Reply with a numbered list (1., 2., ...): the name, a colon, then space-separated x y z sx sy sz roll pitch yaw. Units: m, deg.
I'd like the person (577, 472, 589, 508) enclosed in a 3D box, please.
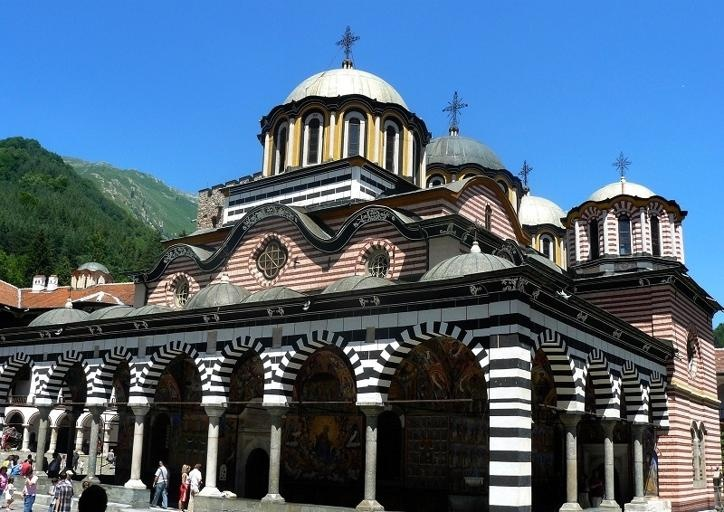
1. person: 9.195 9.746 33.987 0.434 1.347 0.925 -2 -20 15
